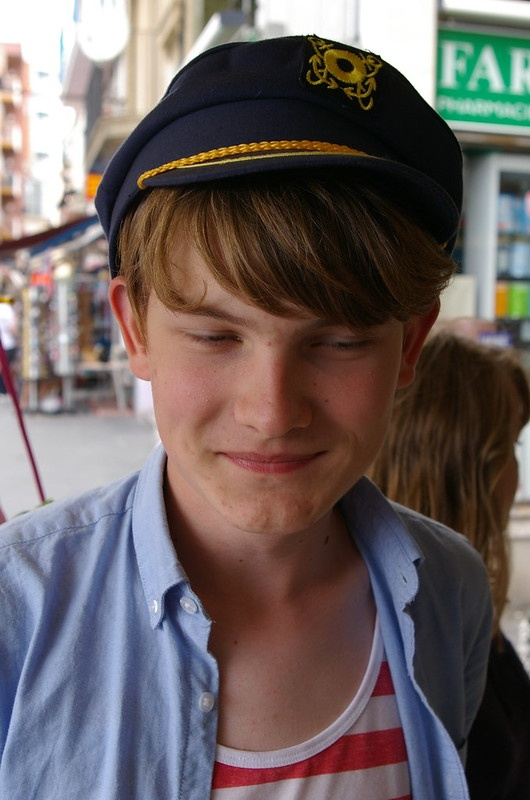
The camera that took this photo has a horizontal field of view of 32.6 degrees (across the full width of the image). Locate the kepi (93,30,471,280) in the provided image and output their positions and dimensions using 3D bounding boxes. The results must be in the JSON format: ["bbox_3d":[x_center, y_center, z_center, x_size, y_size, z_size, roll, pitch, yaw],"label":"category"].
[{"bbox_3d":[0.078,-0.393,1.502,0.669,0.378,0.429,-2,9,-17],"label":"kepi"}]
